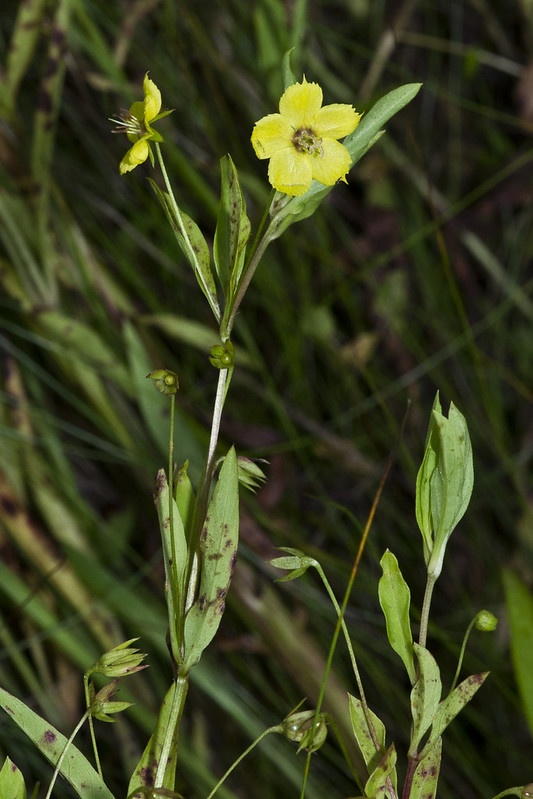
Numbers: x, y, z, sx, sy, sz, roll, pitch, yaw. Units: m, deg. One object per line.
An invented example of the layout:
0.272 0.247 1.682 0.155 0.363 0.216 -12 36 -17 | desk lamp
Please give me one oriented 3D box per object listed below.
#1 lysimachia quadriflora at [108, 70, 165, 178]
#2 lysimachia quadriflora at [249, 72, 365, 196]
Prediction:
-0.076 -0.160 0.424 0.020 0.043 0.041 15 -45 -38 | lysimachia quadriflora
0.021 -0.137 0.419 0.067 0.064 0.024 58 -14 1 | lysimachia quadriflora
